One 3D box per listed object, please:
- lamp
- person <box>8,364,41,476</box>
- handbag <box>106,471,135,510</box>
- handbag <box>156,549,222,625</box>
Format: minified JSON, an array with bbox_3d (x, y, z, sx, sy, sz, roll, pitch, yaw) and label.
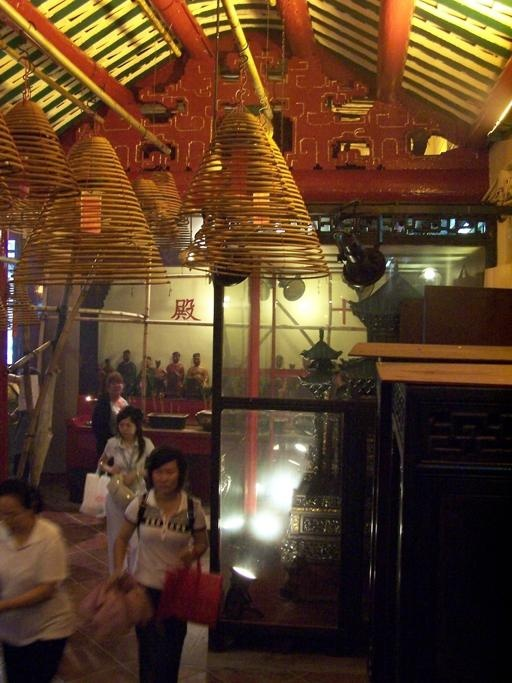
[{"bbox_3d":[-0.013,-0.485,2.371,0.816,0.921,0.825,-1,2,17],"label":"lamp"},{"bbox_3d":[-2.614,0.875,6.712,0.314,1.182,1.180,6,-7,-22],"label":"person"},{"bbox_3d":[-0.803,0.878,3.700,0.142,0.211,0.225,-25,0,-5],"label":"handbag"},{"bbox_3d":[-0.258,0.998,2.400,0.230,0.237,0.132,2,-7,13],"label":"handbag"}]
